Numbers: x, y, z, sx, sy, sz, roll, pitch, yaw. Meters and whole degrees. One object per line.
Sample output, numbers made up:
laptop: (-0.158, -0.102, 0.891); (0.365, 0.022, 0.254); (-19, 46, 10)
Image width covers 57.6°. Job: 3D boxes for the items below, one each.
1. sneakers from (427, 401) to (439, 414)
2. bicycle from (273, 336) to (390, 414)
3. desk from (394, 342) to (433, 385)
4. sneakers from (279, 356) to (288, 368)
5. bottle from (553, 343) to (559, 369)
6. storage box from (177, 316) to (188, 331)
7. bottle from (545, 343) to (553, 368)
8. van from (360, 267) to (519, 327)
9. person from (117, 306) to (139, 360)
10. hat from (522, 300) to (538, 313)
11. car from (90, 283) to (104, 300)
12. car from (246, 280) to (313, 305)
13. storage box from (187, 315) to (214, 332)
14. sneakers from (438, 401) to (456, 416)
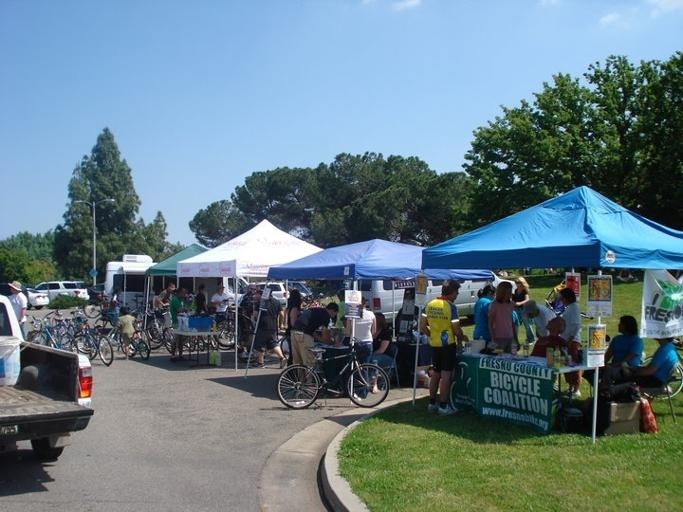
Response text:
sneakers: (1.562, 2.588, 10.644); (0.163, 0.161, 0.116); (-2, 2, 7)
bicycle: (-0.181, 2.308, 12.152); (1.994, 1.250, 1.065); (-2, -2, -5)
desk: (1.543, 2.271, 13.477); (0.746, 1.112, 1.067); (0, -2, 3)
sneakers: (-1.440, 2.606, 15.184); (0.167, 0.244, 0.534); (2, 4, 0)
bottle: (3.269, 1.550, 9.430); (0.086, 0.240, 0.244); (-1, 2, 24)
storage box: (-4.162, 1.748, 16.272); (0.172, 0.367, 0.353); (-5, -7, 10)
bottle: (3.159, 1.533, 9.401); (0.096, 0.298, 0.065); (-1, 2, 30)
van: (3.203, 1.285, 21.876); (4.667, 2.256, 2.465); (-5, -2, -31)
person: (-6.074, 2.138, 17.519); (0.483, 1.497, 1.051); (-2, 2, -20)
hat: (3.656, 1.011, 11.992); (0.275, 0.304, 0.446); (-1, 2, 20)
car: (-16.305, 2.334, 41.298); (0.862, 0.838, 1.565); (2, 9, 10)
car: (-2.800, 1.997, 30.121); (2.411, 1.312, 1.431); (-3, -1, 0)
storage box: (-3.704, 1.772, 16.278); (0.404, 0.278, 0.412); (1, 0, -38)
sneakers: (1.815, 2.597, 10.604); (0.150, 0.191, 0.373); (3, 1, 44)
